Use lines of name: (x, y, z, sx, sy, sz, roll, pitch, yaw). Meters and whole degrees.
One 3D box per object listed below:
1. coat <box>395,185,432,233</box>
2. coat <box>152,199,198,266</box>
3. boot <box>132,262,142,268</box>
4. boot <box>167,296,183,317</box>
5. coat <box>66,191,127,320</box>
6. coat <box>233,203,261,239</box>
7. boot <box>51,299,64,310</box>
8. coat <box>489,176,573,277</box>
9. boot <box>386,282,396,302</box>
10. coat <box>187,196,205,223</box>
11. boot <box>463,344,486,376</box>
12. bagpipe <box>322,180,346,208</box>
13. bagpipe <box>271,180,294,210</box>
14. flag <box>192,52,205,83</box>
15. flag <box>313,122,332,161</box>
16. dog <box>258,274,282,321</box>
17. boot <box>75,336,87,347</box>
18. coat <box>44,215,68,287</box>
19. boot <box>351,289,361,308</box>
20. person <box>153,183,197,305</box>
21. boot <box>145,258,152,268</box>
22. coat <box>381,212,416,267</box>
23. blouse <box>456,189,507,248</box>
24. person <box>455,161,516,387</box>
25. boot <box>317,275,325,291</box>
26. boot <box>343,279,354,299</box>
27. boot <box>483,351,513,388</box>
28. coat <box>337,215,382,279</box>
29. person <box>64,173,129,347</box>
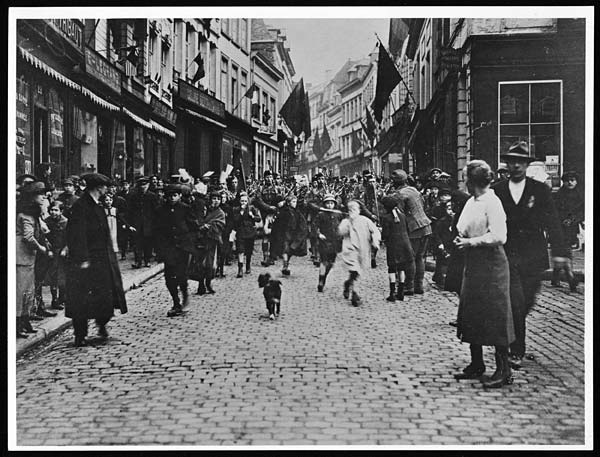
coat: (2.155, -0.348, 12.774, 0.577, 0.792, 0.698, -33, -7, 35)
coat: (-2.179, 0.055, 11.474, 0.536, 1.268, 0.576, 0, 2, -13)
boot: (-3.849, 0.864, 15.534, 0.245, 0.109, 0.090, 2, 0, 27)
boot: (-2.116, 1.290, 11.115, 0.237, 0.285, 0.307, -3, 13, -11)
coat: (-2.941, 0.339, 9.631, 0.707, 1.857, 0.763, 0, 10, -8)
coat: (-1.284, -0.164, 15.419, 0.657, 0.844, 0.443, 2, -30, -9)
boot: (-4.066, 1.266, 11.072, 0.166, 0.159, 0.169, 1, -5, -5)
coat: (2.845, 0.198, 8.558, 0.938, 1.734, 0.555, -3, 7, 11)
boot: (1.618, 1.123, 11.975, 0.195, 0.383, 0.161, 6, 14, 27)
coat: (-1.957, -0.337, 12.431, 0.259, 0.475, 0.444, 0, 16, -37)
boot: (2.117, 1.569, 8.078, 0.207, 0.473, 0.224, 9, 15, 36)
bagpipe: (1.018, -0.990, 18.767, 0.764, 0.791, 0.335, 17, 21, 9)
bagpipe: (-0.669, -0.934, 19.515, 0.898, 0.925, 0.367, 3, -35, 7)
flag: (-4.052, -6.347, 26.161, 0.477, 1.118, 1.066, -2, 13, -7)
flag: (0.961, -4.034, 30.581, 0.997, 1.671, 0.172, -8, -23, 19)
dog: (-0.539, 0.962, 11.099, 0.391, 0.608, 1.025, 1, 21, -11)
boot: (-3.139, 1.609, 9.486, 0.141, 0.144, 0.142, 1, -5, 0)
coat: (-4.011, 0.385, 10.892, 0.456, 1.607, 0.546, -1, 11, -13)
boot: (0.992, 1.212, 11.579, 0.175, 0.283, 0.186, -2, 13, -9)
person: (-2.137, 0.333, 11.405, 0.750, 2.032, 0.891, -3, 13, -12)
boot: (-3.663, 0.849, 15.921, 0.087, 0.272, 0.193, 0, 36, -7)
coat: (1.819, 0.188, 12.167, 0.570, 1.226, 0.768, -6, -29, -2)
blouse: (2.141, -0.089, 7.909, 0.465, 0.759, 0.481, 0, 10, -3)
person: (2.257, 0.568, 8.066, 0.771, 2.686, 0.956, 3, 13, 14)
boot: (0.401, 1.077, 13.070, 0.135, 0.313, 0.231, 1, 12, 7)
boot: (0.860, 1.101, 12.140, 0.083, 0.319, 0.193, 8, 27, -17)
boot: (2.344, 1.671, 7.911, 0.448, 0.436, 0.205, -14, 15, -34)
coat: (1.030, 0.278, 11.886, 0.654, 1.134, 0.666, -1, 6, -10)
person: (-3.009, 0.436, 9.576, 0.834, 2.385, 0.633, -5, 13, -19)
